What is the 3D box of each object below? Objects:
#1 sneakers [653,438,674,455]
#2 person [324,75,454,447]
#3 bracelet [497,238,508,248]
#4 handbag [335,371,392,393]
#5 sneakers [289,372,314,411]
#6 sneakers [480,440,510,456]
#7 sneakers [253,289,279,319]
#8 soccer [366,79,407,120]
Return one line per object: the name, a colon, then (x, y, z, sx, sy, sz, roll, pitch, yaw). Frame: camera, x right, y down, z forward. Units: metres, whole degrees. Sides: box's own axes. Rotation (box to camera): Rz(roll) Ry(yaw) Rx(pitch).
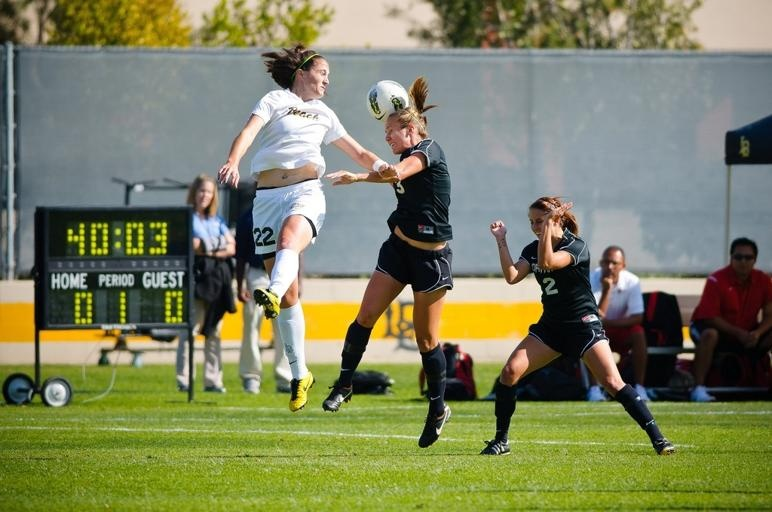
sneakers: (3.140, 2.175, 15.229, 0.226, 0.186, 0.079, 1, 2, 9)
person: (0.159, 0.081, 15.691, 1.198, 4.372, 0.811, 0, 2, 1)
bracelet: (1.335, -0.155, 15.495, 0.116, 0.044, 0.154, 10, -4, -7)
handbag: (-0.322, 1.853, 19.626, 0.684, 0.277, 0.439, 3, 4, -1)
sneakers: (-1.007, 1.622, 15.886, 0.257, 0.472, 0.275, 0, 2, -4)
sneakers: (1.264, 2.213, 15.435, 0.368, 0.181, 0.141, -3, -2, -9)
sneakers: (-1.347, 0.531, 15.239, 0.174, 0.425, 0.213, -27, 3, 2)
soccer: (0.003, -1.874, 16.136, 0.468, 0.455, 0.454, -13, -25, -8)
